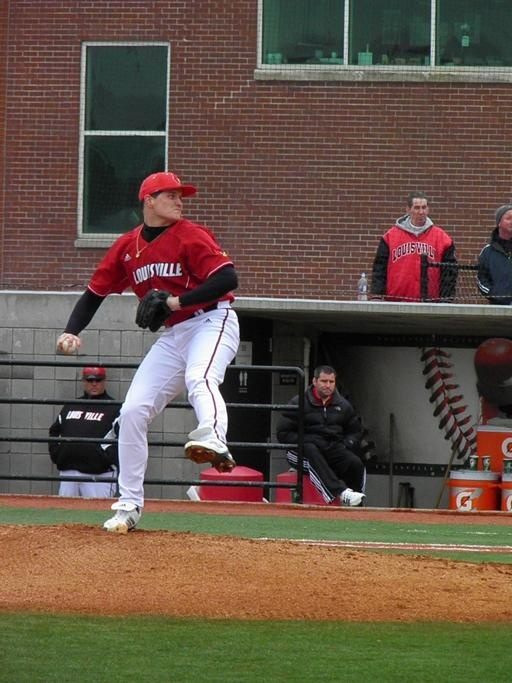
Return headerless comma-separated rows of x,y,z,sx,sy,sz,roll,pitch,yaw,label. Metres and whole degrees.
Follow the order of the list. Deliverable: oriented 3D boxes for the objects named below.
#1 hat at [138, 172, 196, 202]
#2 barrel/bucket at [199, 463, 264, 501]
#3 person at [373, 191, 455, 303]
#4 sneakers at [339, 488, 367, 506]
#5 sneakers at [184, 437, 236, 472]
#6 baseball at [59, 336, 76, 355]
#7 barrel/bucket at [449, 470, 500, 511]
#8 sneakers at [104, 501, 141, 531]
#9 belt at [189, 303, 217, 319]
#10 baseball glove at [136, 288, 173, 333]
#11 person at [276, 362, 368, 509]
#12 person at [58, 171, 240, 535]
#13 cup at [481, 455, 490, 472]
-0.618,-1.060,14.260,0.344,0.202,0.242,-2,2,11,hat
-0.205,1.276,17.947,0.457,0.388,0.499,1,-8,0,barrel/bucket
1.452,-0.830,18.686,0.767,0.958,0.480,1,-1,3,person
0.850,1.353,17.655,0.101,0.122,0.238,-34,5,-32,sneakers
-0.306,0.775,13.806,0.327,0.215,0.278,1,-1,-1,sneakers
-1.297,0.039,14.293,0.111,0.128,0.092,-5,10,-35,baseball
2.088,1.416,19.439,0.413,0.468,0.450,1,-6,0,barrel/bucket
-0.913,1.206,14.051,0.112,0.146,0.336,5,-3,10,sneakers
-0.350,-0.203,14.166,0.115,0.047,0.117,-39,1,-30,belt
-0.671,-0.187,14.084,0.105,0.268,0.247,25,-1,-38,baseball glove
0.673,0.877,18.014,0.698,1.500,0.944,7,-19,-23,person
-0.630,0.073,14.171,0.810,2.471,1.282,2,-2,-44,person
2.216,1.179,19.672,0.093,0.168,0.101,0,-9,0,cup
